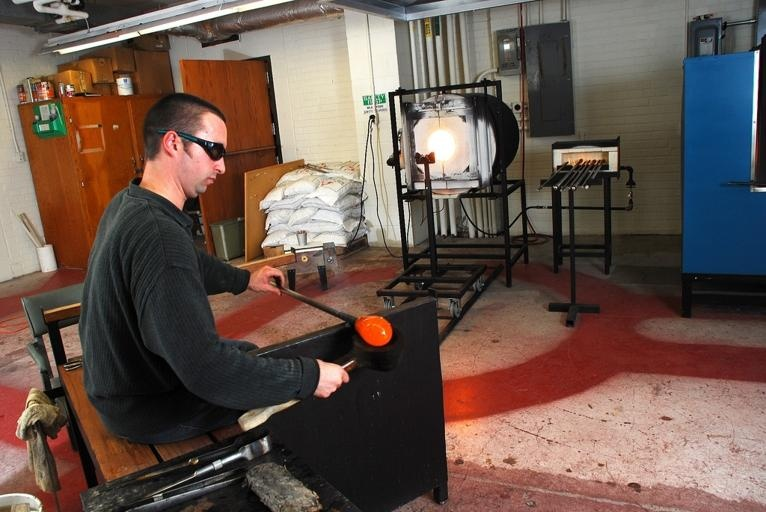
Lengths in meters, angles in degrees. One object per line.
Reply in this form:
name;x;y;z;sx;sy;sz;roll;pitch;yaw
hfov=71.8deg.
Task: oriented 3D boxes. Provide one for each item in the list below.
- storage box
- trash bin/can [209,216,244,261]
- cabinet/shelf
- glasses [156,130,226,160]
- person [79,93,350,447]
storage box;-4.441;-2.962;8.697;1.449;0.782;1.387;1;11;26
trash bin/can;-2.277;-0.262;7.605;0.377;0.533;0.601;9;18;33
cabinet/shelf;-4.531;-1.341;9.240;1.061;2.467;2.817;-2;16;18
glasses;-0.867;-0.521;2.478;0.181;0.048;0.173;25;-3;-20
person;-0.944;0.055;2.367;0.902;1.528;1.054;-14;19;-29
